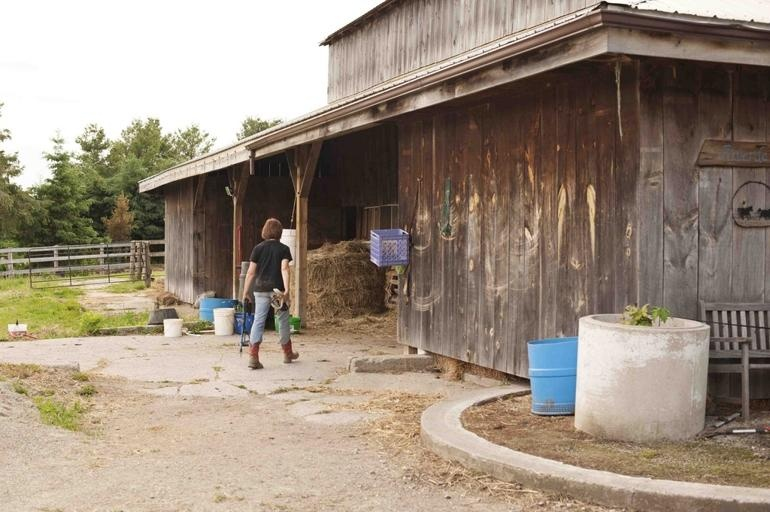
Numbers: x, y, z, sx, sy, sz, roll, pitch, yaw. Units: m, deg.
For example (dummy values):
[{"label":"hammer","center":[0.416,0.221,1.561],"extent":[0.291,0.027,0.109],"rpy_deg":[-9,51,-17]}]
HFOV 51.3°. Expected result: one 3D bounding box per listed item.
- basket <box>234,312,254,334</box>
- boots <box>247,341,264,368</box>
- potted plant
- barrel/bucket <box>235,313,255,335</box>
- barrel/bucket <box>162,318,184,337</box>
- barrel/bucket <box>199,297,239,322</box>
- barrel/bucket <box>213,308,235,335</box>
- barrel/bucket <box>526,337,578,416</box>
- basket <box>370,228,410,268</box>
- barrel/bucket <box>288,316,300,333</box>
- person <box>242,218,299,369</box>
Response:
[{"label":"basket","center":[-2.377,1.108,13.287],"extent":[0.370,0.354,0.532],"rpy_deg":[3,-6,-33]},{"label":"boots","center":[-1.795,1.352,10.747],"extent":[0.158,0.362,0.344],"rpy_deg":[1,-1,9]},{"label":"potted plant","center":[2.380,1.108,7.601],"extent":[1.082,0.963,1.009],"rpy_deg":[2,1,-2]},{"label":"barrel/bucket","center":[-2.359,1.113,13.256],"extent":[0.391,0.380,0.569],"rpy_deg":[3,-6,-27]},{"label":"barrel/bucket","center":[-3.477,1.184,13.120],"extent":[0.263,0.235,0.270],"rpy_deg":[0,-4,0]},{"label":"barrel/bucket","center":[-3.110,0.916,14.450],"extent":[0.478,0.331,0.493],"rpy_deg":[1,3,0]},{"label":"barrel/bucket","center":[-2.777,1.116,13.511],"extent":[0.387,0.428,0.388],"rpy_deg":[0,-4,0]},{"label":"barrel/bucket","center":[1.667,1.211,7.973],"extent":[0.463,0.745,0.181],"rpy_deg":[-2,2,12]},{"label":"basket","center":[0.053,-0.106,11.075],"extent":[0.455,0.507,0.490],"rpy_deg":[1,2,-8]},{"label":"barrel/bucket","center":[-1.515,1.155,13.552],"extent":[0.273,0.326,0.305],"rpy_deg":[0,-5,-3]},{"label":"person","center":[-1.600,0.490,11.084],"extent":[0.713,1.980,1.022],"rpy_deg":[-2,2,-10]}]
